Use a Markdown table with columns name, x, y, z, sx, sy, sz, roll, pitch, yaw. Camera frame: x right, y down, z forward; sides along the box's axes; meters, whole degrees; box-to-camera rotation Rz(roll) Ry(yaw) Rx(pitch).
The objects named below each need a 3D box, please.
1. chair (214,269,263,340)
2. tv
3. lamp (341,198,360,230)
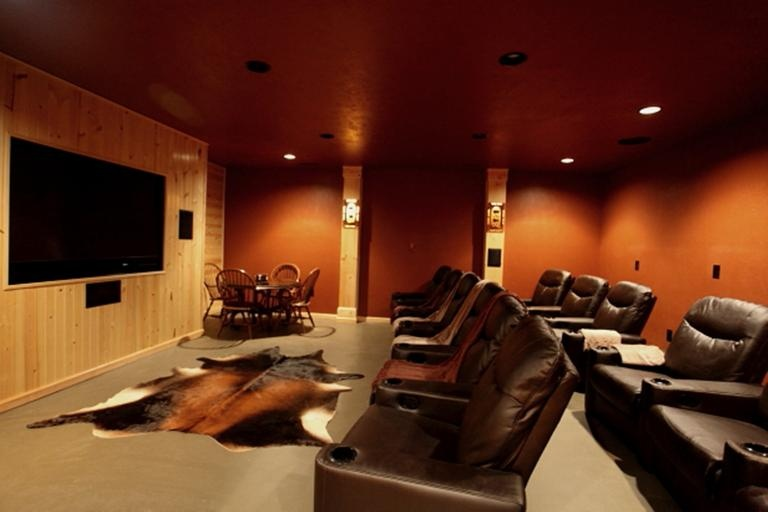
| name | x | y | z | sx | sy | sz | roll | pitch | yaw |
| --- | --- | --- | --- | --- | --- | --- | --- | --- | --- |
| chair | -2.144 | 0.599 | 6.989 | 0.548 | 1.026 | 1.822 | 0 | 7 | -18 |
| tv | -3.220 | -0.488 | 5.067 | 0.203 | 1.257 | 1.863 | 6 | 3 | 27 |
| lamp | -0.533 | -0.719 | 7.804 | 0.268 | 0.471 | 0.121 | 2 | 8 | -4 |
